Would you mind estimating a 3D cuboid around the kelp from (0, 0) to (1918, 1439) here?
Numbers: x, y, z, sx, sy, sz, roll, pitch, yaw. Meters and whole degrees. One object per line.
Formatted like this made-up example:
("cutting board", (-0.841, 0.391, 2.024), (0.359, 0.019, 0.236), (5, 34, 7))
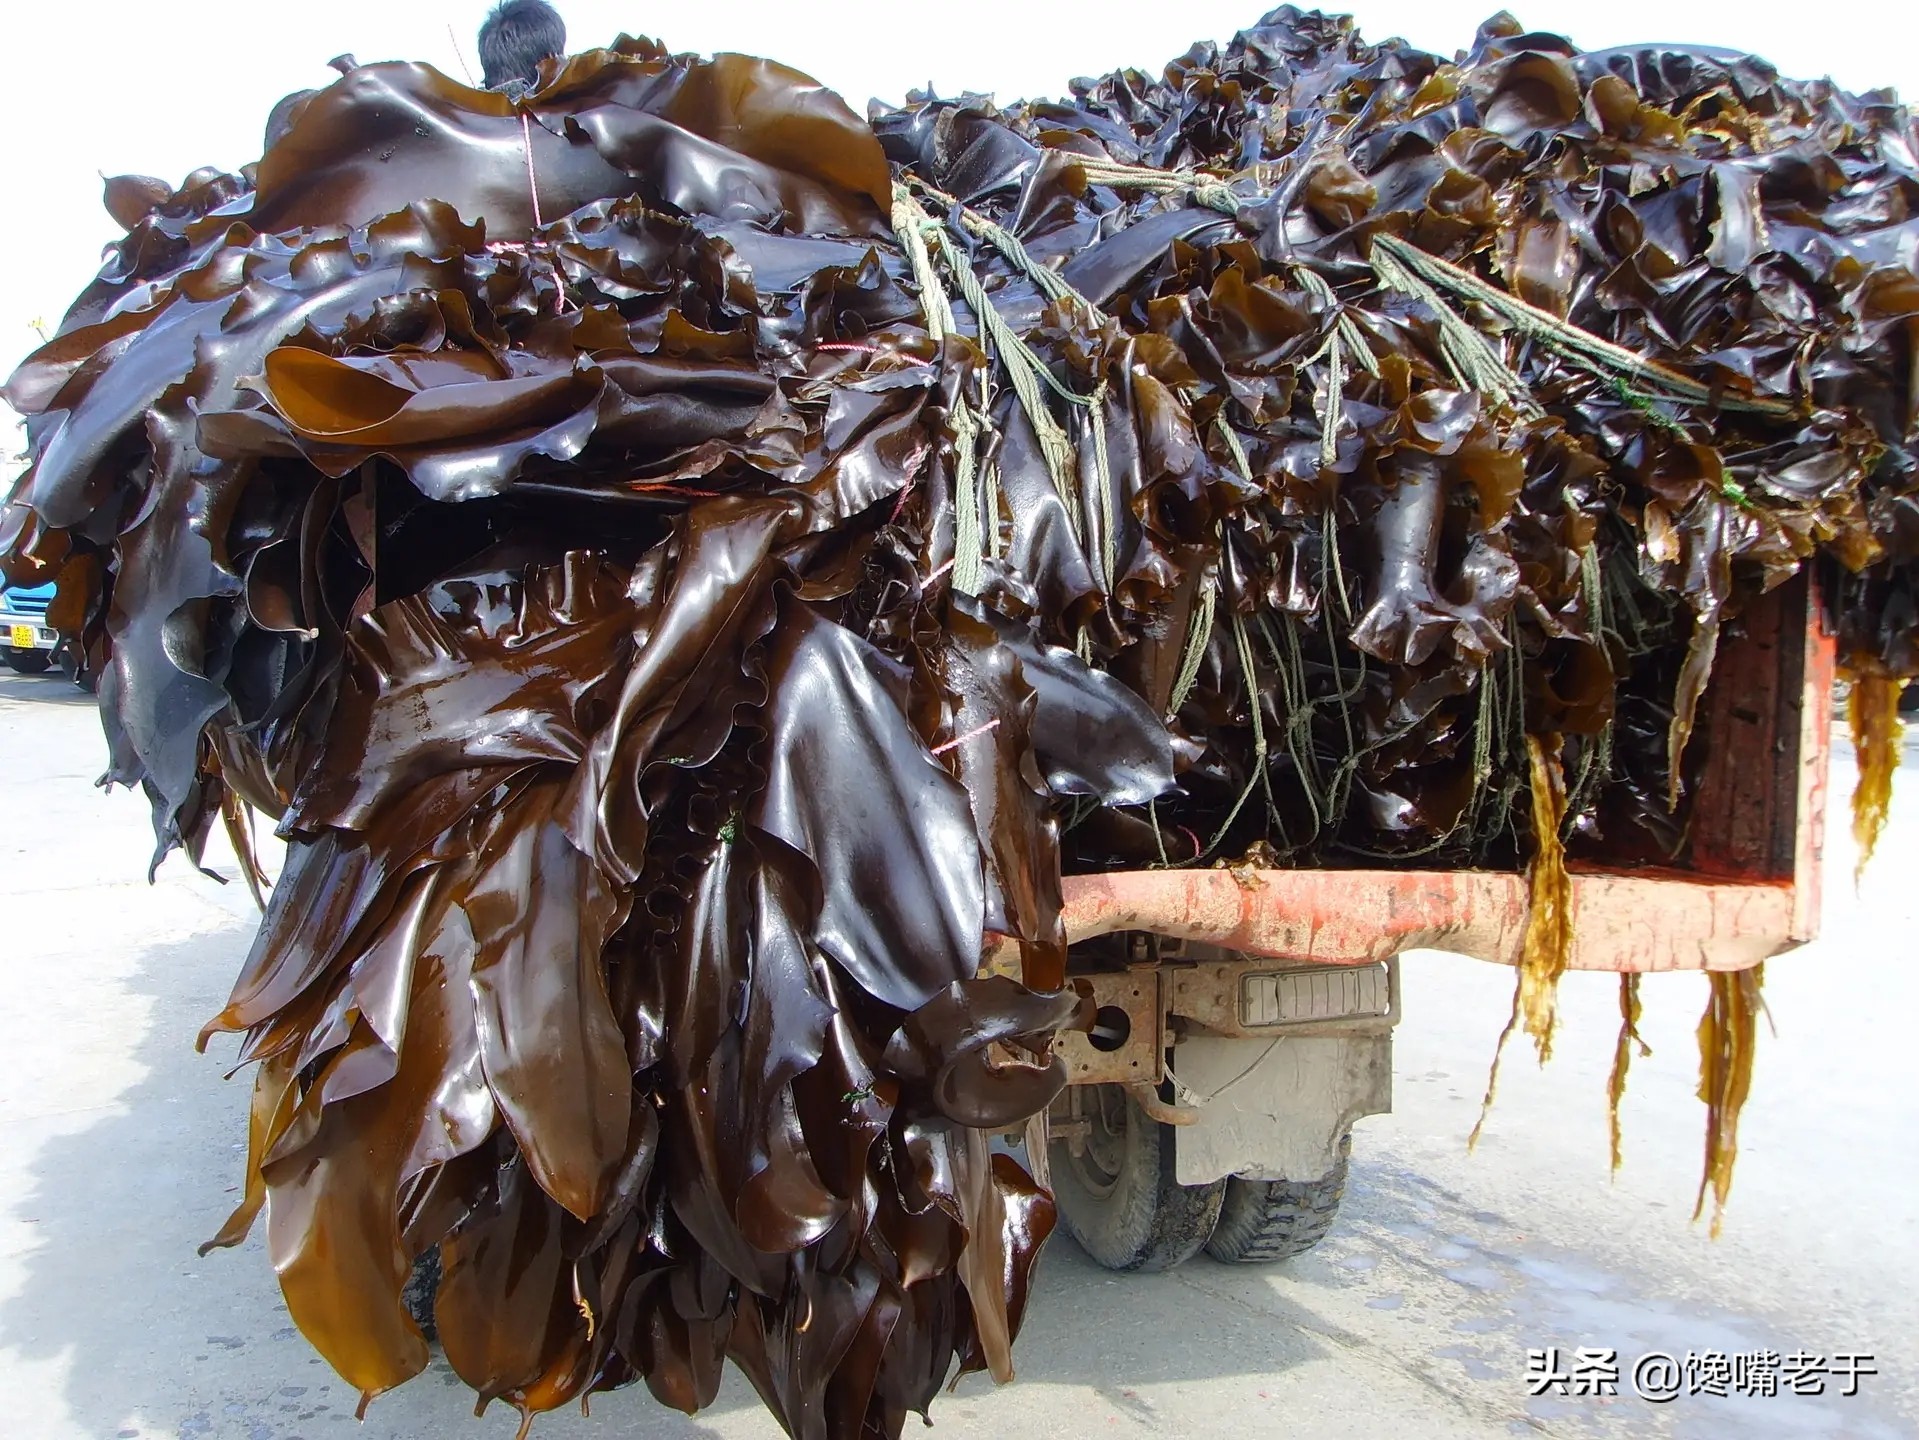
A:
("kelp", (-0.260, 0.121, 3.765), (3.046, 2.032, 2.876), (-9, 32, -15))
